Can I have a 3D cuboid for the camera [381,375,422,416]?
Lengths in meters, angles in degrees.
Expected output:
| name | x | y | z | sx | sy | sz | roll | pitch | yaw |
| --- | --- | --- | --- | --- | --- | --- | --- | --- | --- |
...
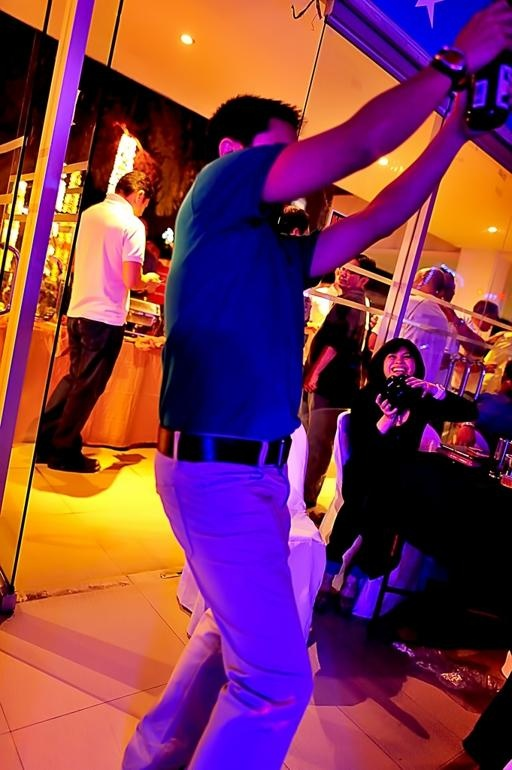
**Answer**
| name | x | y | z | sx | sy | sz | roll | pitch | yaw |
| --- | --- | --- | --- | --- | --- | --- | --- | --- | --- |
| camera | 0.589 | 0.052 | 2.126 | 0.149 | 0.136 | 0.151 | 52 | -31 | -14 |
